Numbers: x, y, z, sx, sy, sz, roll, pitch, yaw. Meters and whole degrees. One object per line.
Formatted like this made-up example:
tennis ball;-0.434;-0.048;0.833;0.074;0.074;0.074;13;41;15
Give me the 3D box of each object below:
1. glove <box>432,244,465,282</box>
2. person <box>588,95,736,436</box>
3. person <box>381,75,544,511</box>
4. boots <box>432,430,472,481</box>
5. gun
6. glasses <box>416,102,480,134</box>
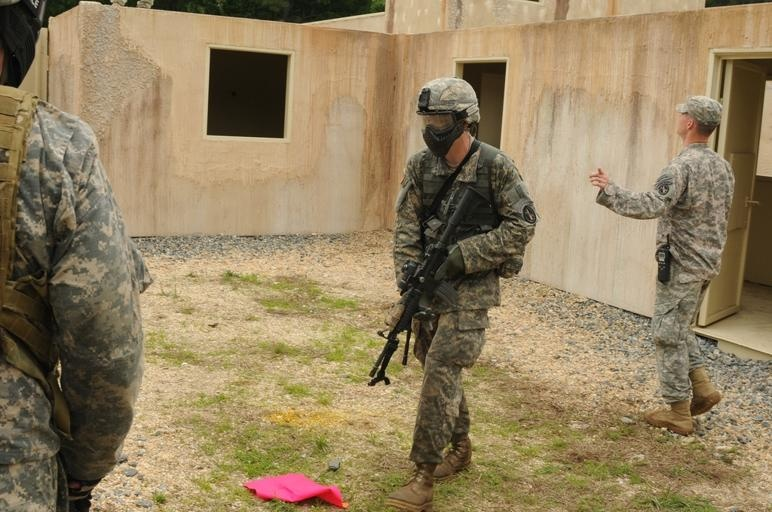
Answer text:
glove;0.388;0.038;4.706;0.170;0.222;0.073;-4;1;-3
person;2.006;0.049;6.381;1.363;2.387;0.924;0;2;-28
person;0.281;0.176;5.207;1.306;2.388;0.912;-1;3;-33
boots;0.422;1.321;5.118;0.383;0.204;0.139;-16;28;-35
gun;0.208;0.202;4.810;0.180;1.306;0.398;20;-14;43
glasses;0.379;-0.861;4.785;0.252;0.128;0.198;-9;15;-23
